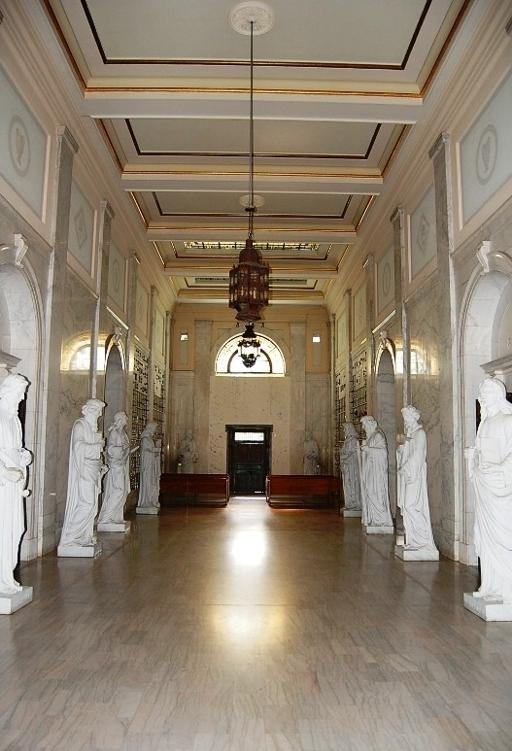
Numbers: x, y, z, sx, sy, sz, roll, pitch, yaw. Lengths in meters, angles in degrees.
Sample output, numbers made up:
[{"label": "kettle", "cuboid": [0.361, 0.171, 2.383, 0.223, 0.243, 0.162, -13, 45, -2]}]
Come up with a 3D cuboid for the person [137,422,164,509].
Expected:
[{"label": "person", "cuboid": [-2.735, 2.263, 11.451, 0.556, 2.265, 0.884, 4, -13, -14]}]

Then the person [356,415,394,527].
[{"label": "person", "cuboid": [2.473, 1.954, 9.119, 0.647, 2.246, 0.764, -1, -12, 9]}]

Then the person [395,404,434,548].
[{"label": "person", "cuboid": [2.270, 1.484, 6.393, 0.502, 2.049, 0.649, -4, -13, 23]}]

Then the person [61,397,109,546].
[{"label": "person", "cuboid": [-2.466, 1.404, 6.456, 0.543, 2.155, 0.478, 6, -13, -23]}]

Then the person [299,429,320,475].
[{"label": "person", "cuboid": [2.131, 2.861, 17.242, 0.634, 1.571, 0.856, 1, -13, 1]}]
